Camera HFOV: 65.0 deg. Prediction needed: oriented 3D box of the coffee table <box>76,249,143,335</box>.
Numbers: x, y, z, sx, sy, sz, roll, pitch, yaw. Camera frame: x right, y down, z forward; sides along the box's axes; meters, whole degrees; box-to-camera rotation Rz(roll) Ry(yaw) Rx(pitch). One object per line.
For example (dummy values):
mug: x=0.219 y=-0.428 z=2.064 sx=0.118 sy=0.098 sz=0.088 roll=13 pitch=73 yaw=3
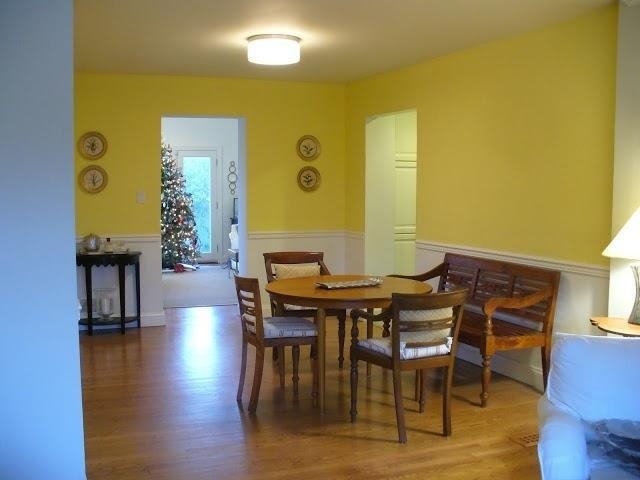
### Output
coffee table: x=-2.533 y=0.623 z=6.065 sx=0.726 sy=0.991 sz=0.454 roll=-3 pitch=7 yaw=-22

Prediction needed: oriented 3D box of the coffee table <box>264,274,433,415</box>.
coffee table: x=0.233 y=0.651 z=4.081 sx=1.093 sy=0.748 sz=1.101 roll=0 pitch=4 yaw=-20

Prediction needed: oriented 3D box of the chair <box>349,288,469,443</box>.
chair: x=0.616 y=0.843 z=3.588 sx=0.781 sy=1.080 sz=0.632 roll=0 pitch=7 yaw=0

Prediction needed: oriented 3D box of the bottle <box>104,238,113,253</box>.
bottle: x=-2.562 y=0.055 z=6.061 sx=0.093 sy=0.149 sz=0.314 roll=-3 pitch=7 yaw=-23

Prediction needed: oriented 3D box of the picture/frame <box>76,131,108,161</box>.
picture/frame: x=-2.799 y=-1.157 z=6.115 sx=0.327 sy=0.341 sz=0.110 roll=-1 pitch=5 yaw=-23

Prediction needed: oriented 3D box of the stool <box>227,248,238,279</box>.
stool: x=-1.616 y=0.427 z=9.256 sx=0.164 sy=0.340 sz=0.519 roll=-2 pitch=7 yaw=-16
